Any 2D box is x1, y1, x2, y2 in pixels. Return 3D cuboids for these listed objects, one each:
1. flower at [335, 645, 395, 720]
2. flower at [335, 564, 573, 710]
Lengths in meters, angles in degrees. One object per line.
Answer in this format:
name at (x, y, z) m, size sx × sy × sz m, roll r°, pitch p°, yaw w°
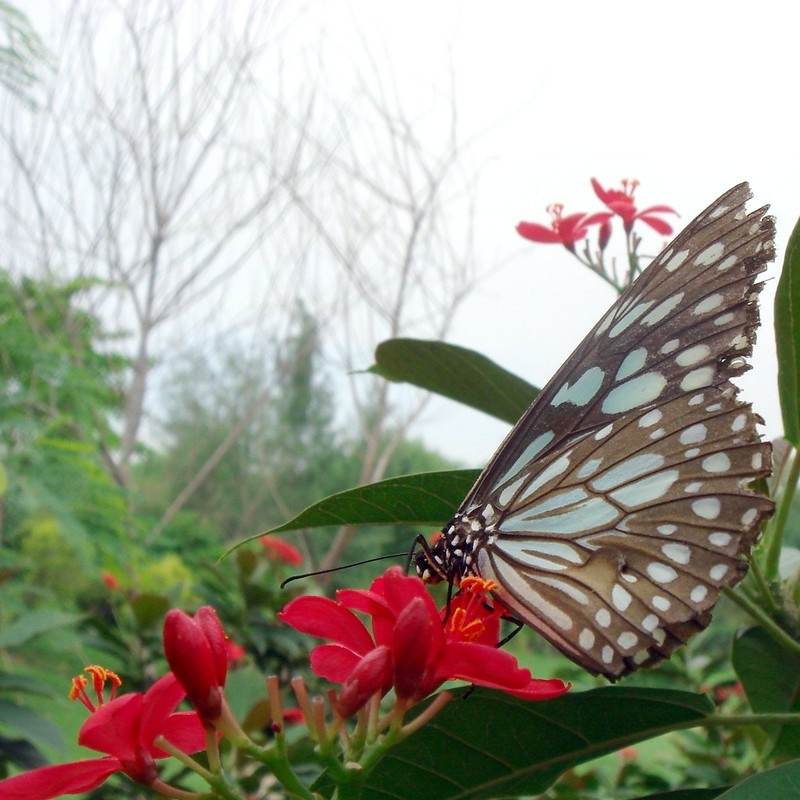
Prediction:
flower at (-0.048, 0.404, 1.357) m, size 0.047 × 0.113 × 0.084 m, roll 7°, pitch -21°, yaw 40°
flower at (0.076, 0.338, 1.468) m, size 0.283 × 0.124 × 0.265 m, roll 0°, pitch -6°, yaw 13°
